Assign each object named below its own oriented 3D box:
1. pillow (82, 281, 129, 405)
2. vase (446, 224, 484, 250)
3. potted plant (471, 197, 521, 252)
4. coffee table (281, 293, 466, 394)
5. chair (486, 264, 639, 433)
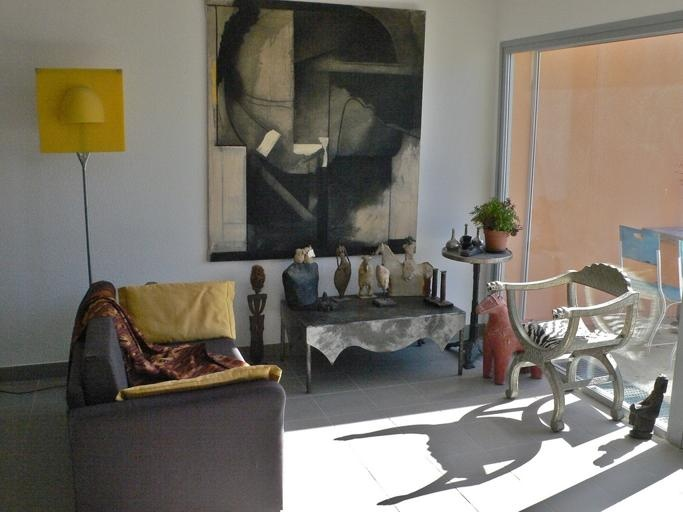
[{"bbox_3d":[-1.421,0.537,3.432,0.178,0.232,0.565,-5,27,-18],"label":"pillow"},{"bbox_3d":[1.135,-0.131,5.289,0.297,0.195,0.308,2,1,5],"label":"vase"},{"bbox_3d":[1.399,-0.276,5.168,0.409,0.483,0.269,1,8,18],"label":"potted plant"},{"bbox_3d":[0.284,0.736,5.214,1.592,0.687,0.711,-3,8,-15],"label":"coffee table"},{"bbox_3d":[1.781,0.668,4.619,0.909,1.222,0.920,-4,9,-21],"label":"chair"}]
